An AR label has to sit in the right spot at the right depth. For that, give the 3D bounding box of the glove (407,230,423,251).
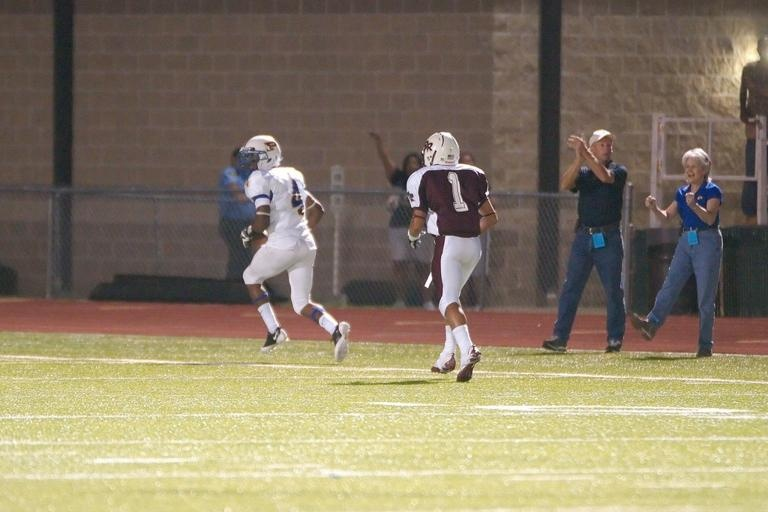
[{"bbox_3d":[0.400,-0.210,20.274,0.120,0.129,0.434,31,10,-1],"label":"glove"}]

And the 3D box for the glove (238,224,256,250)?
[{"bbox_3d":[-1.736,-0.270,19.726,0.144,0.189,0.443,29,-24,7],"label":"glove"}]

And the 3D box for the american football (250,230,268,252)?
[{"bbox_3d":[-1.697,-0.216,21.401,0.087,0.332,0.102,46,26,2],"label":"american football"}]

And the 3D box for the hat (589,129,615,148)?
[{"bbox_3d":[2.764,-1.464,19.829,0.296,0.199,0.202,2,2,7],"label":"hat"}]

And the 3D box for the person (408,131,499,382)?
[{"bbox_3d":[0.700,-0.008,17.358,0.934,2.677,1.033,2,2,0],"label":"person"}]

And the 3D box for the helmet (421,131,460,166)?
[{"bbox_3d":[0.633,-1.217,17.720,0.326,0.346,0.412,-6,22,-15],"label":"helmet"}]

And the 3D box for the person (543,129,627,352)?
[{"bbox_3d":[2.637,-0.178,19.852,0.914,2.783,0.905,2,2,8],"label":"person"}]

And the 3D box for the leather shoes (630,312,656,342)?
[{"bbox_3d":[3.375,0.922,20.396,0.160,0.440,0.191,-33,7,48],"label":"leather shoes"}]

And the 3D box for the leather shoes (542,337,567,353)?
[{"bbox_3d":[2.196,1.116,20.046,0.347,0.156,0.143,8,0,-5],"label":"leather shoes"}]

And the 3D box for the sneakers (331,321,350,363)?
[{"bbox_3d":[-0.521,1.018,18.541,0.215,0.474,0.182,13,21,35],"label":"sneakers"}]

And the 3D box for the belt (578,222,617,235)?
[{"bbox_3d":[2.707,-0.346,19.858,0.550,0.124,0.179,2,2,12],"label":"belt"}]

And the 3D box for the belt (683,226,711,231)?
[{"bbox_3d":[3.863,-0.329,19.316,0.348,0.039,0.045,3,2,20],"label":"belt"}]

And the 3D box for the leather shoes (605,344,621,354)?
[{"bbox_3d":[2.941,1.166,20.065,0.083,0.085,0.227,3,4,34],"label":"leather shoes"}]

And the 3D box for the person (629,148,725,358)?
[{"bbox_3d":[3.729,-0.053,19.481,0.920,2.553,1.062,2,2,10],"label":"person"}]
